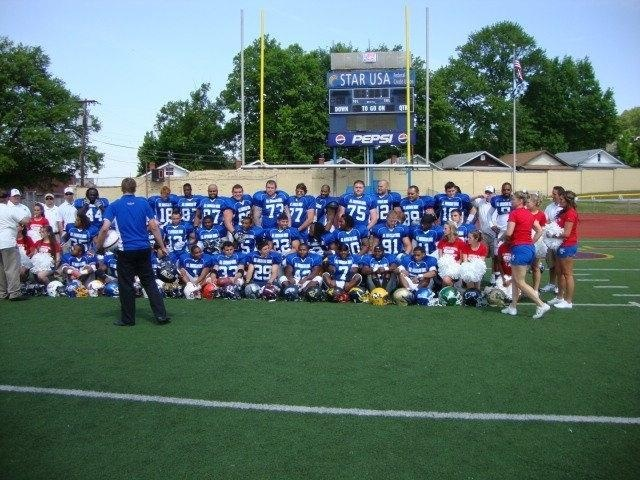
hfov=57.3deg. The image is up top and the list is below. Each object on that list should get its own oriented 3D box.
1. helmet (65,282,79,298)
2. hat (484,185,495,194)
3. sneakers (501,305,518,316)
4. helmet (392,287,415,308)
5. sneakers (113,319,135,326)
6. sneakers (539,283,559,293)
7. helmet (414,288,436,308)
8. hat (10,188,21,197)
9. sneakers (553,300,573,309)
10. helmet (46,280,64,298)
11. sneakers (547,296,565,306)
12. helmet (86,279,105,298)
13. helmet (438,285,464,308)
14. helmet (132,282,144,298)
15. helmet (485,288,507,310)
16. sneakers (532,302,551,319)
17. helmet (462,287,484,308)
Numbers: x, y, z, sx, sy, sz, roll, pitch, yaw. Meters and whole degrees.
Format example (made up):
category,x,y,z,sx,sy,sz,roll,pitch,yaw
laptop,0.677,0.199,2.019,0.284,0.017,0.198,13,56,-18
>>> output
category,x,y,z,sx,sy,sz,roll,pitch,yaw
helmet,-3.663,0.727,8.606,0.182,0.245,0.218,14,11,39
hat,2.724,-0.797,9.403,0.186,0.155,0.310,-3,-1,23
sneakers,2.450,0.924,7.615,0.234,0.104,0.088,3,11,17
helmet,1.153,0.812,8.171,0.224,0.260,0.197,32,28,-19
sneakers,-2.292,0.993,6.867,0.217,0.097,0.086,6,8,6
sneakers,3.623,0.778,9.328,0.333,0.155,0.126,0,7,18
helmet,1.468,0.790,8.142,0.260,0.200,0.206,7,-34,14
hat,-4.775,-0.732,9.194,0.187,0.107,0.285,-3,8,-43
sneakers,3.301,0.885,7.992,0.274,0.122,0.101,0,5,4
helmet,-3.926,0.724,8.649,0.205,0.251,0.187,38,28,24
sneakers,3.289,0.863,8.172,0.219,0.105,0.081,-4,8,35
helmet,-3.299,0.723,8.716,0.256,0.227,0.191,-27,-7,35
helmet,1.791,0.784,8.086,0.236,0.293,0.215,23,44,30
helmet,-2.447,0.674,7.873,0.189,0.312,0.114,4,47,-10
helmet,2.399,0.795,7.985,0.231,0.113,0.284,2,13,17
sneakers,2.784,0.894,7.354,0.232,0.197,0.142,-6,10,-37
helmet,2.113,0.806,8.097,0.190,0.247,0.235,-5,4,16
